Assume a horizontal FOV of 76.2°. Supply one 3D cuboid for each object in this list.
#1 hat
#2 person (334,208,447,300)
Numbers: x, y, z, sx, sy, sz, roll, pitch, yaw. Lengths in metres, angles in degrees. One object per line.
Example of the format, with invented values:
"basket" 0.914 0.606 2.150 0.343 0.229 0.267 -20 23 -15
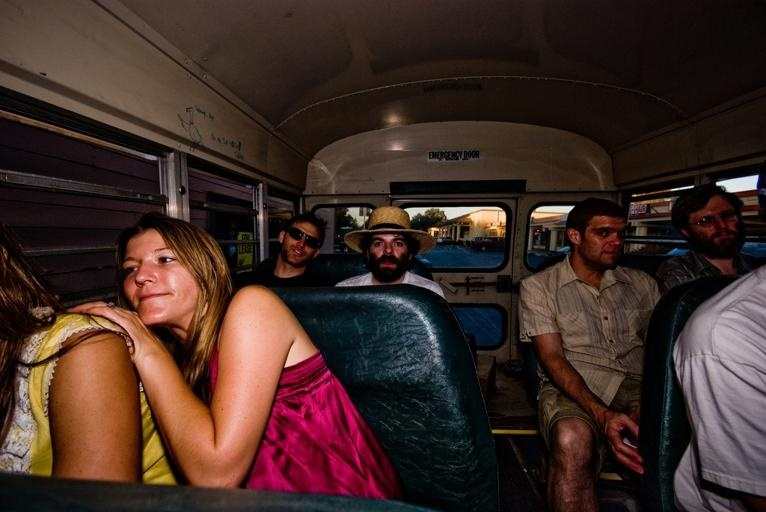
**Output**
"hat" 0.061 -0.284 4.766 0.881 0.320 0.869 11 -17 -30
"person" 0.043 -0.049 4.723 1.065 0.795 0.967 -1 -10 13
